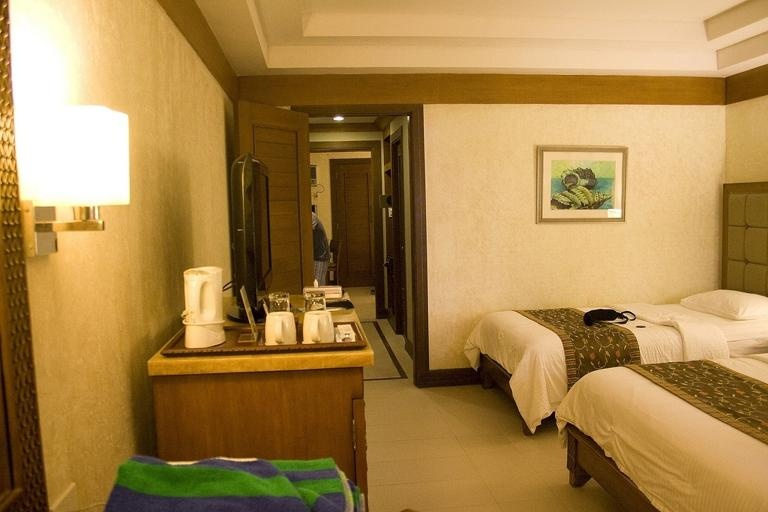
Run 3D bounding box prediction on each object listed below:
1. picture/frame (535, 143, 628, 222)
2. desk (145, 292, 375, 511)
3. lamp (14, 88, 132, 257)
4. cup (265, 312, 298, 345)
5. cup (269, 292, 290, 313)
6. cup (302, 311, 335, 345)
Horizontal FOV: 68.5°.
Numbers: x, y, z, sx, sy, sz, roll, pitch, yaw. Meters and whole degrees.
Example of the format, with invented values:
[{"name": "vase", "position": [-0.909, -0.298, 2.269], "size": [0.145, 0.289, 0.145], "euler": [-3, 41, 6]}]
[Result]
[{"name": "picture/frame", "position": [1.839, -0.729, 5.375], "size": [0.821, 0.633, 0.064], "euler": [-1, 3, -10]}, {"name": "desk", "position": [-0.582, 0.627, 2.756], "size": [0.907, 0.777, 0.851], "euler": [-1, -2, -4]}, {"name": "lamp", "position": [-1.144, -0.286, 2.095], "size": [0.379, 0.524, 0.209], "euler": [-7, 14, -18]}, {"name": "cup", "position": [-0.502, 0.343, 2.727], "size": [0.115, 0.114, 0.175], "euler": [0, 8, -4]}, {"name": "cup", "position": [-0.552, 0.240, 2.957], "size": [0.113, 0.116, 0.119], "euler": [0, -3, 0]}, {"name": "cup", "position": [-0.316, 0.347, 2.692], "size": [0.114, 0.120, 0.181], "euler": [0, 7, -1]}]
